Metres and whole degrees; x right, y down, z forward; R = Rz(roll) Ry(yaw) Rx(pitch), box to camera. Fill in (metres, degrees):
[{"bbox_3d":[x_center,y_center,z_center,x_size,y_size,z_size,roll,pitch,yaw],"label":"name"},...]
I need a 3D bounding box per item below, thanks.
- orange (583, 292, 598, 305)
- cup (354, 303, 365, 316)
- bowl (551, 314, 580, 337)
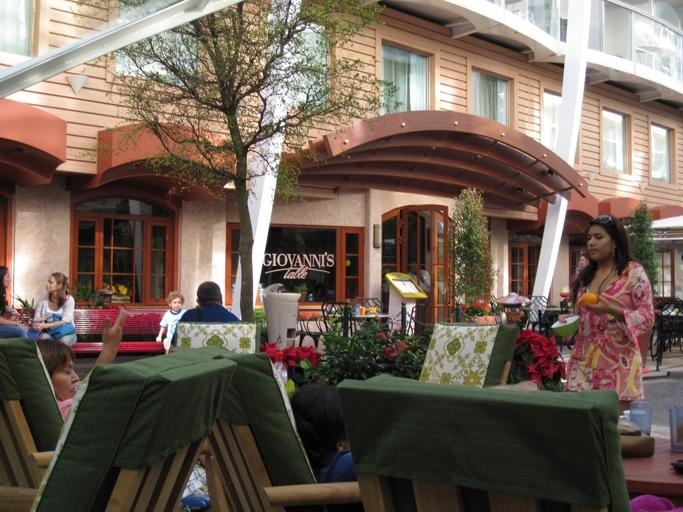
[{"bbox_3d":[1.379,0.232,3.751,0.070,0.073,0.066,14,9,43],"label":"orange"},{"bbox_3d":[0.312,0.976,12.057,0.132,0.240,0.235,2,-2,-39],"label":"cup"},{"bbox_3d":[1.280,0.411,3.901,0.132,0.057,0.131,-20,9,3],"label":"bowl"}]
